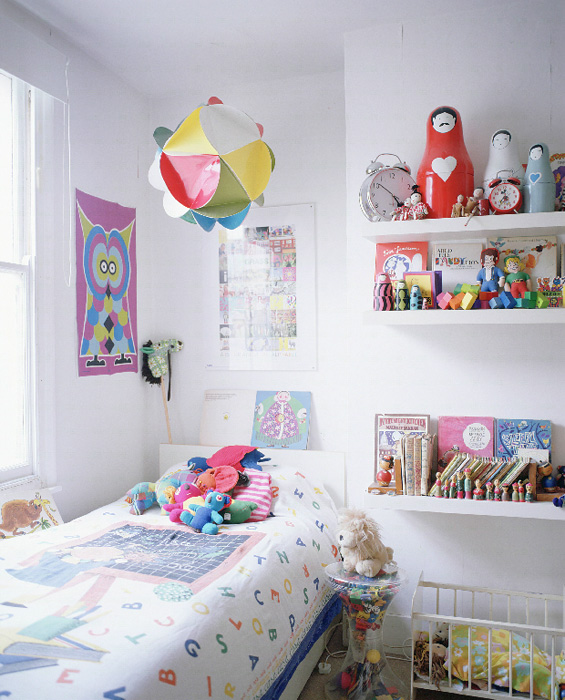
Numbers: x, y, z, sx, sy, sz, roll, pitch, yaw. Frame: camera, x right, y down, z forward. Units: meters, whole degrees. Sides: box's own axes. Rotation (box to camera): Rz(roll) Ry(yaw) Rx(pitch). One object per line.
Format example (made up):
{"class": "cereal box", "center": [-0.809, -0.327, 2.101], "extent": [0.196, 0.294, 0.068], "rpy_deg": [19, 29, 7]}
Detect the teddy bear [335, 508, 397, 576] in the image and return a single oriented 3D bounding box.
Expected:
{"class": "teddy bear", "center": [0.281, 0.635, 2.004], "extent": [0.211, 0.206, 0.160], "rpy_deg": [4, -7, -42]}

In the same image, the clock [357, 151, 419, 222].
{"class": "clock", "center": [0.392, -0.594, 2.229], "extent": [0.178, 0.241, 0.088], "rpy_deg": [-4, 20, -1]}

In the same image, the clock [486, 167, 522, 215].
{"class": "clock", "center": [0.748, -0.528, 2.047], "extent": [0.103, 0.145, 0.061], "rpy_deg": [-1, 4, 18]}
